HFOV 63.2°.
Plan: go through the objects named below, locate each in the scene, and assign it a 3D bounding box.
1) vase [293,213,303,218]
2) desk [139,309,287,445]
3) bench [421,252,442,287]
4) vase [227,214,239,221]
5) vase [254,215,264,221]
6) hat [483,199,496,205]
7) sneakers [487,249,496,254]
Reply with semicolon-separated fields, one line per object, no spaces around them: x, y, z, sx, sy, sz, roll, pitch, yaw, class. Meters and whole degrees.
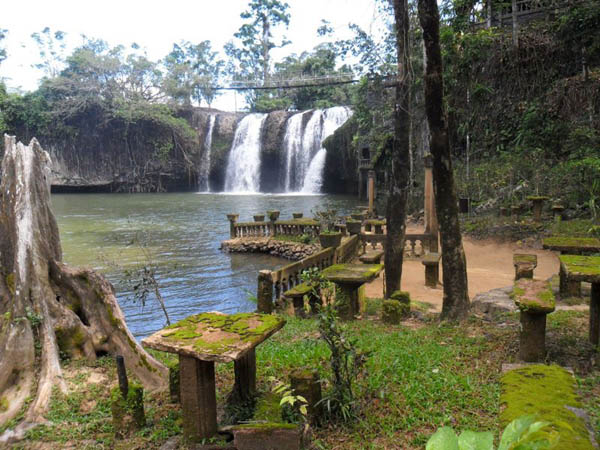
-0.088;-0.399;19.534;0.259;0.184;0.231;0;4;28;vase
-0.859;1.334;5.022;1.138;1.062;1.334;1;3;27;desk
2.965;1.054;11.017;0.429;0.569;0.799;-1;-2;15;bench
-2.638;-0.319;19.048;0.408;0.362;0.400;-2;2;-18;vase
-1.675;-0.291;19.508;0.292;0.227;0.247;0;-2;-22;vase
6.054;-0.762;15.509;0.423;0.157;0.475;-5;0;14;hat
5.513;0.731;13.962;0.218;0.118;0.236;-1;11;30;sneakers
